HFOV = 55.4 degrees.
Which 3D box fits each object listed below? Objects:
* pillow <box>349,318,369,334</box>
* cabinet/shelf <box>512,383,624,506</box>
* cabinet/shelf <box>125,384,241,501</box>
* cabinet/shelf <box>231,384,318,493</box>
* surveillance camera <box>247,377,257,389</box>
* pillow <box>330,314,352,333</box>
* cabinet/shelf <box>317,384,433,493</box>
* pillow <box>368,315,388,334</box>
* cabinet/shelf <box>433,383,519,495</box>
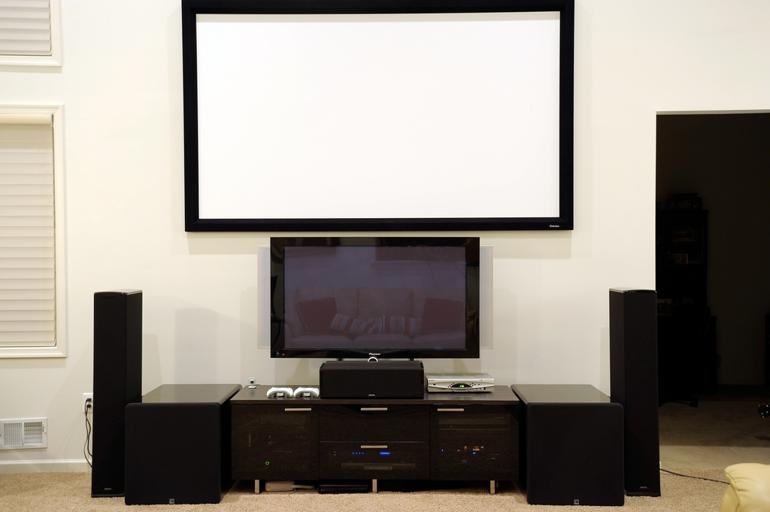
[{"bbox_3d":[-0.192,0.531,5.613,0.123,0.121,0.038,9,5,2],"label":"pillow"},{"bbox_3d":[1.383,1.199,5.552,0.637,0.765,1.198,-1,-1,6],"label":"cabinet/shelf"},{"bbox_3d":[-1.528,1.423,5.643,0.653,0.638,1.002,0,0,-3],"label":"cabinet/shelf"},{"bbox_3d":[-0.823,1.396,5.631,0.594,0.562,0.596,0,-5,-1],"label":"cabinet/shelf"},{"bbox_3d":[-1.033,0.994,5.690,0.066,0.074,0.066,-1,1,4],"label":"surveillance camera"},{"bbox_3d":[-0.330,0.510,5.515,0.145,0.147,0.043,13,4,2],"label":"pillow"},{"bbox_3d":[-0.065,1.240,5.637,0.986,0.650,0.543,-1,-5,0],"label":"cabinet/shelf"},{"bbox_3d":[-0.051,0.531,5.625,0.131,0.129,0.132,1,-7,2],"label":"pillow"},{"bbox_3d":[0.653,1.345,5.392,0.613,0.576,0.602,-1,-6,2],"label":"cabinet/shelf"}]
